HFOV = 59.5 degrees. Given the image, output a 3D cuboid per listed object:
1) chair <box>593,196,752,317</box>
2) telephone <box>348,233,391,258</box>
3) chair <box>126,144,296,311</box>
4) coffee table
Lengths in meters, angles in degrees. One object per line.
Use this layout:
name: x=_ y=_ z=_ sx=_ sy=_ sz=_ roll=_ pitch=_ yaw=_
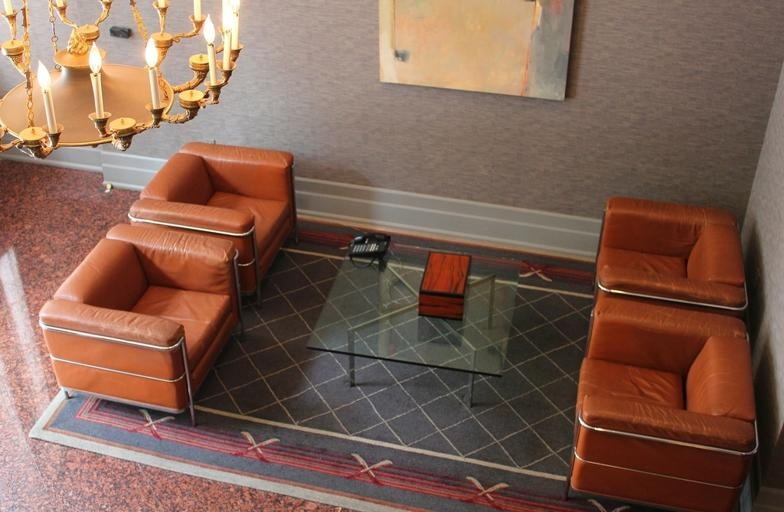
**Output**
chair: x=2.494 y=0.180 z=6.481 sx=1.302 sy=0.931 sz=1.129 roll=10 pitch=61 yaw=8
telephone: x=-0.220 y=-0.100 z=6.654 sx=0.343 sy=0.128 sz=0.233 roll=3 pitch=34 yaw=7
chair: x=-1.986 y=-0.264 z=7.360 sx=1.798 sy=1.346 sz=1.622 roll=9 pitch=51 yaw=4
coffee table: x=0.217 y=0.551 z=6.033 sx=1.683 sy=0.737 sz=1.478 roll=10 pitch=49 yaw=12
